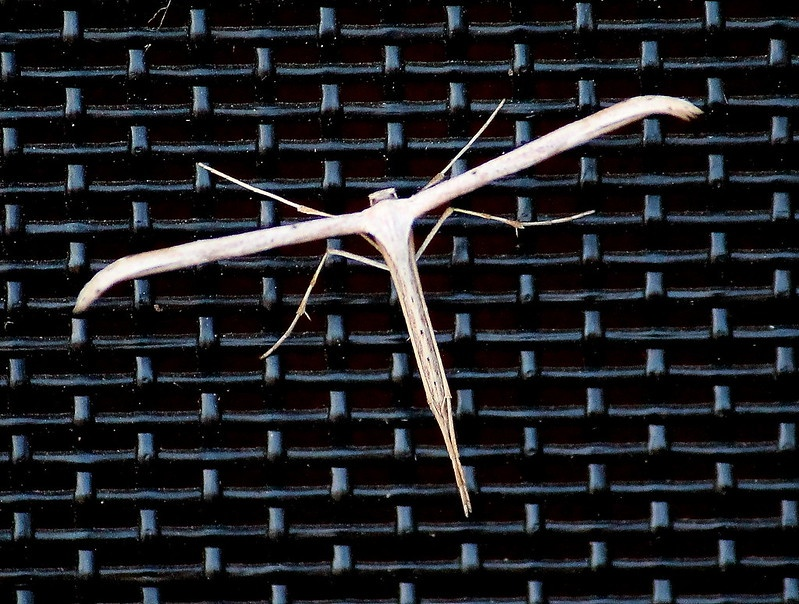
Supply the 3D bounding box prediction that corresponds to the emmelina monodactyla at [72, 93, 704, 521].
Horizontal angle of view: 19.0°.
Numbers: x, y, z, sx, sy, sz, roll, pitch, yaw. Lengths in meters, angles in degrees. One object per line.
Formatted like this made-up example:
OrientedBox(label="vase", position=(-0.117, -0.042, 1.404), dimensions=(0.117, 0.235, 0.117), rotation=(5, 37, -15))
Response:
OrientedBox(label="emmelina monodactyla", position=(-0.021, -0.017, 3.874), dimensions=(0.949, 0.143, 0.643), rotation=(-13, -89, 3))
